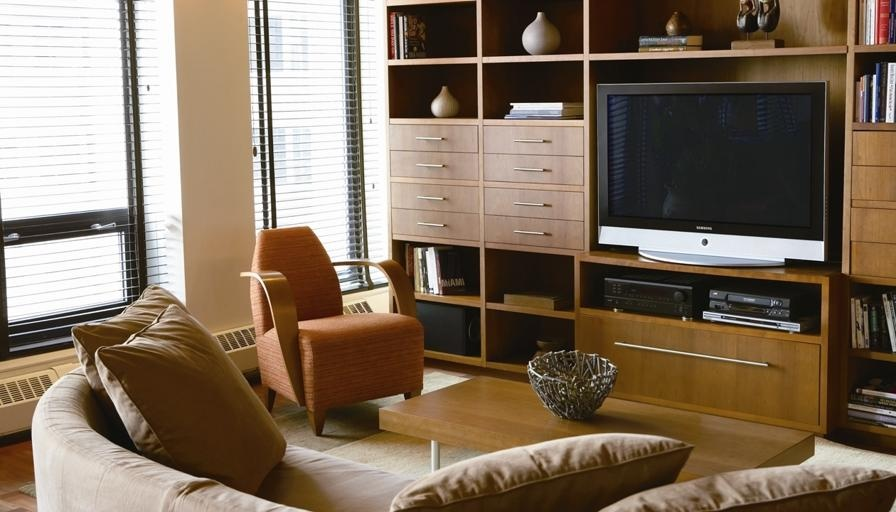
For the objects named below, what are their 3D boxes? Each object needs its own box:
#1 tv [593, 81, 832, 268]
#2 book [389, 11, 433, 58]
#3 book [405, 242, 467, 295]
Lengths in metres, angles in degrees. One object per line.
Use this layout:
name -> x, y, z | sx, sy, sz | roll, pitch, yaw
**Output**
tv -> 1.713, -0.519, 4.210 | 1.358, 0.868, 0.337 | 3, 7, 28
book -> -0.297, -1.684, 5.144 | 0.428, 0.347, 0.209 | -3, 8, -28
book -> -0.018, 0.079, 5.352 | 0.364, 0.415, 0.485 | -4, -1, 43
